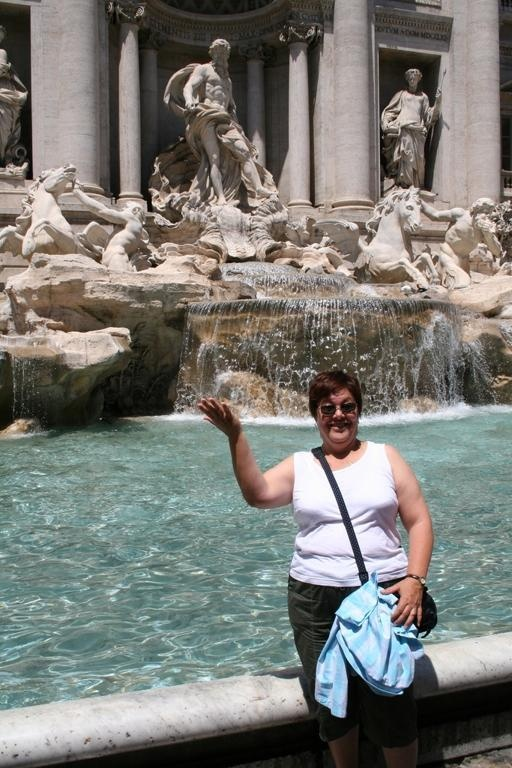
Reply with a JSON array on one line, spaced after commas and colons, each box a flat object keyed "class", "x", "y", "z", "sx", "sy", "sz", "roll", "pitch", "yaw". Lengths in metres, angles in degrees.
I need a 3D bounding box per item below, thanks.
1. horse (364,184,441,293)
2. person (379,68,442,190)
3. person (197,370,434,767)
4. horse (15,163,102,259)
[{"class": "horse", "x": 2.835, "y": -2.900, "z": 14.722, "sx": 1.801, "sy": 2.280, "sz": 1.765, "roll": 8, "pitch": 18, "yaw": 27}, {"class": "person", "x": 4.127, "y": -6.893, "z": 19.422, "sx": 1.518, "sy": 3.010, "sz": 0.804, "roll": 0, "pitch": 14, "yaw": -18}, {"class": "person", "x": 0.186, "y": 0.408, "z": 1.680, "sx": 0.622, "sy": 0.833, "sz": 0.430, "roll": 15, "pitch": 17, "yaw": 37}, {"class": "horse", "x": -3.502, "y": -2.940, "z": 12.180, "sx": 0.593, "sy": 1.520, "sz": 1.616, "roll": 8, "pitch": 14, "yaw": 38}]
